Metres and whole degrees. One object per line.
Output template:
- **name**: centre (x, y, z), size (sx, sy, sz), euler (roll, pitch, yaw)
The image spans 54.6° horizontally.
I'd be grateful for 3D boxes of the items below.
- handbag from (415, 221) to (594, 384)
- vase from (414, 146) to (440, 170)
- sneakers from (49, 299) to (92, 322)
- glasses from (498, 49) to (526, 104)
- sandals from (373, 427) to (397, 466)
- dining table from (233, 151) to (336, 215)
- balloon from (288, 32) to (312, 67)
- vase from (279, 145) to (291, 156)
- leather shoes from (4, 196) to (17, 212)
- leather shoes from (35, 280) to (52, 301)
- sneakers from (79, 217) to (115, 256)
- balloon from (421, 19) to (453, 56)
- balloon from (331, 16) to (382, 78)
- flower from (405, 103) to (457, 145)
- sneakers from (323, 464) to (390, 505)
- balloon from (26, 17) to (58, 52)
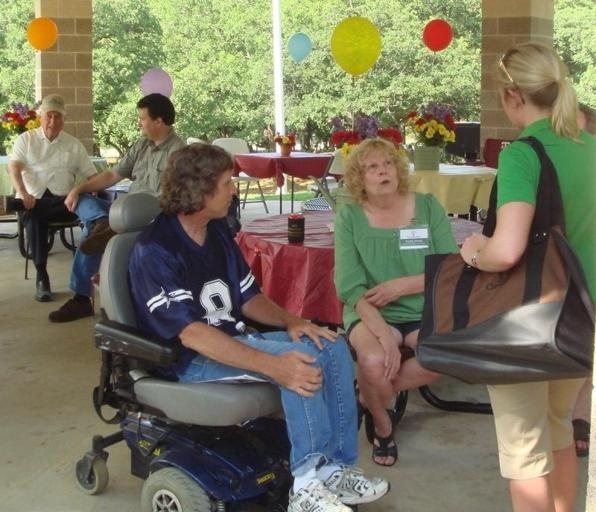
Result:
- **handbag**: centre (0.538, 0.112, 1.534), size (0.445, 0.374, 0.307), euler (5, 14, 22)
- **vase**: centre (1.175, -0.881, 5.219), size (0.211, 0.218, 0.216), euler (0, 10, 1)
- **sneakers**: centre (-1.687, 0.403, 4.336), size (0.302, 0.136, 0.128), euler (-5, 8, -44)
- **glasses**: centre (0.573, -0.478, 1.558), size (0.032, 0.110, 0.106), euler (-33, -3, 18)
- **sandals**: centre (0.388, 0.825, 2.547), size (0.112, 0.068, 0.310), euler (-5, 7, 12)
- **dining table**: centre (-0.193, -1.040, 8.046), size (1.502, 0.686, 1.543), euler (1, 10, 6)
- **balloon**: centre (0.022, -4.031, 11.134), size (0.418, 0.543, 0.513), euler (1, 13, 4)
- **vase**: centre (-0.160, -1.407, 7.682), size (0.135, 0.127, 0.138), euler (-3, 26, -4)
- **leather shoes**: centre (-2.495, -0.452, 5.012), size (0.088, 0.143, 0.187), euler (-7, 14, -27)
- **leather shoes**: centre (-2.095, 0.292, 4.749), size (0.095, 0.097, 0.223), euler (-1, 10, -22)
- **sneakers**: centre (-1.373, -0.119, 3.854), size (0.218, 0.222, 0.103), euler (-10, 28, 7)
- **balloon**: centre (2.110, -3.282, 8.720), size (0.470, 0.591, 0.484), euler (8, 3, 6)
- **balloon**: centre (0.710, -2.635, 7.539), size (0.660, 0.711, 0.718), euler (-1, 1, -1)
- **flower**: centre (1.192, -1.129, 5.169), size (0.383, 0.366, 0.400), euler (-1, 3, -2)
- **sneakers**: centre (0.190, 0.767, 1.939), size (0.252, 0.122, 0.114), euler (-1, 15, -3)
- **balloon**: centre (-3.545, -3.067, 8.012), size (0.400, 0.485, 0.412), euler (-3, 2, -20)
